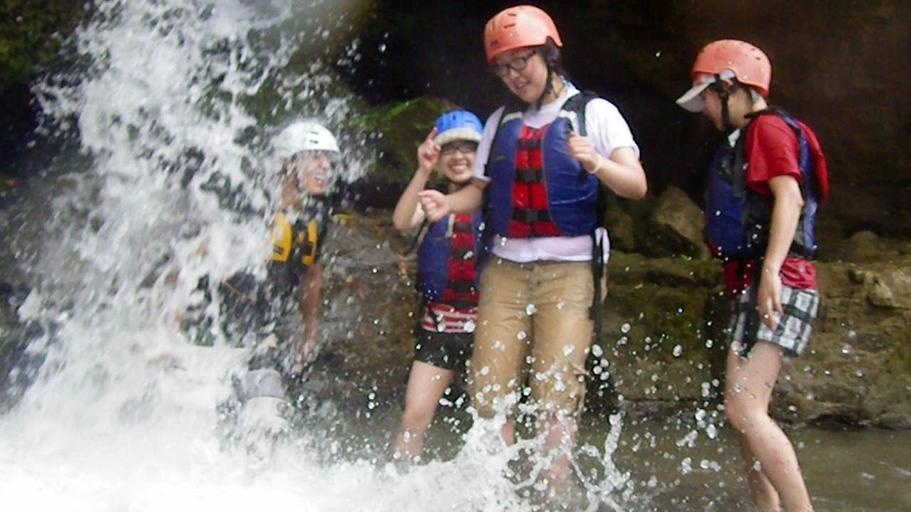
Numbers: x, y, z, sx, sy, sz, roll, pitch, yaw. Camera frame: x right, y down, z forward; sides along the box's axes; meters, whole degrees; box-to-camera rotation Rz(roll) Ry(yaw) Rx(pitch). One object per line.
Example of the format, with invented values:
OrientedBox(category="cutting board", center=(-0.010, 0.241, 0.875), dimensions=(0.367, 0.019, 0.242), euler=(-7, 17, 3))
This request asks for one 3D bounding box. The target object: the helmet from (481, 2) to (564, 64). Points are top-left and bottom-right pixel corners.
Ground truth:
OrientedBox(category="helmet", center=(0.559, -1.930, 6.264), dimensions=(0.578, 0.316, 0.484), euler=(-12, 5, -43))

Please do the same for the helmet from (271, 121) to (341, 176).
OrientedBox(category="helmet", center=(-1.592, -1.183, 7.710), dimensions=(0.453, 0.371, 0.562), euler=(-4, 12, -42))

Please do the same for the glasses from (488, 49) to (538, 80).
OrientedBox(category="glasses", center=(0.508, -1.651, 6.246), dimensions=(0.213, 0.077, 0.287), euler=(-23, 16, 46))

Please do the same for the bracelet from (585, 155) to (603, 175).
OrientedBox(category="bracelet", center=(1.158, -0.746, 6.046), dimensions=(0.037, 0.130, 0.139), euler=(34, 24, -20))
